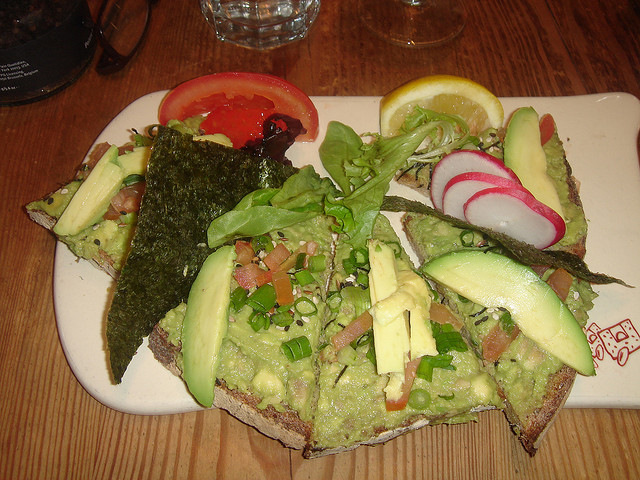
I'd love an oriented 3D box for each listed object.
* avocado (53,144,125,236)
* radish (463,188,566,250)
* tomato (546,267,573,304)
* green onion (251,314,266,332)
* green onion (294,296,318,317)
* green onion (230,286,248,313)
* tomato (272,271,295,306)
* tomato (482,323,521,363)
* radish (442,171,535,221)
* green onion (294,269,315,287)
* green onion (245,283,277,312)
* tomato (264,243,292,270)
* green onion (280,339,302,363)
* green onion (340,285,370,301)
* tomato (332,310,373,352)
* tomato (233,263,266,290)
[{"bbox_3d":[-1.179,-0.225,3.049,0.173,0.165,0.524,32,73,12],"label":"avocado"},{"bbox_3d":[1.032,-0.132,3.108,0.509,0.202,0.173,21,70,8],"label":"radish"},{"bbox_3d":[1.240,0.237,3.016,0.115,0.040,0.178,-3,86,9],"label":"tomato"},{"bbox_3d":[-0.297,0.404,2.857,0.053,0.029,0.078,29,69,-3],"label":"green onion"},{"bbox_3d":[-0.072,0.336,2.923,0.110,0.019,0.103,-9,70,-3],"label":"green onion"},{"bbox_3d":[-0.400,0.288,2.882,0.060,0.104,0.115,11,107,15],"label":"green onion"},{"bbox_3d":[-0.186,0.239,2.914,0.082,0.026,0.179,-7,72,-6],"label":"tomato"},{"bbox_3d":[0.911,0.500,2.962,0.117,0.046,0.240,37,99,13],"label":"tomato"},{"bbox_3d":[0.813,-0.134,2.999,0.532,0.237,0.349,4,31,10],"label":"radish"},{"bbox_3d":[-0.081,0.194,2.986,0.083,0.049,0.073,-27,71,-9],"label":"green onion"},{"bbox_3d":[-0.281,0.295,2.896,0.113,0.035,0.155,43,76,14],"label":"green onion"},{"bbox_3d":[-0.217,0.081,2.972,0.097,0.040,0.175,43,70,-9],"label":"tomato"},{"bbox_3d":[-0.134,0.535,2.874,0.092,0.087,0.109,-7,53,-49],"label":"green onion"},{"bbox_3d":[0.176,0.280,2.992,0.148,0.075,0.086,1,69,1],"label":"green onion"},{"bbox_3d":[0.149,0.416,2.998,0.227,0.163,0.233,-5,29,-2],"label":"tomato"},{"bbox_3d":[-0.354,0.186,2.934,0.119,0.034,0.121,-35,92,-18],"label":"tomato"}]
